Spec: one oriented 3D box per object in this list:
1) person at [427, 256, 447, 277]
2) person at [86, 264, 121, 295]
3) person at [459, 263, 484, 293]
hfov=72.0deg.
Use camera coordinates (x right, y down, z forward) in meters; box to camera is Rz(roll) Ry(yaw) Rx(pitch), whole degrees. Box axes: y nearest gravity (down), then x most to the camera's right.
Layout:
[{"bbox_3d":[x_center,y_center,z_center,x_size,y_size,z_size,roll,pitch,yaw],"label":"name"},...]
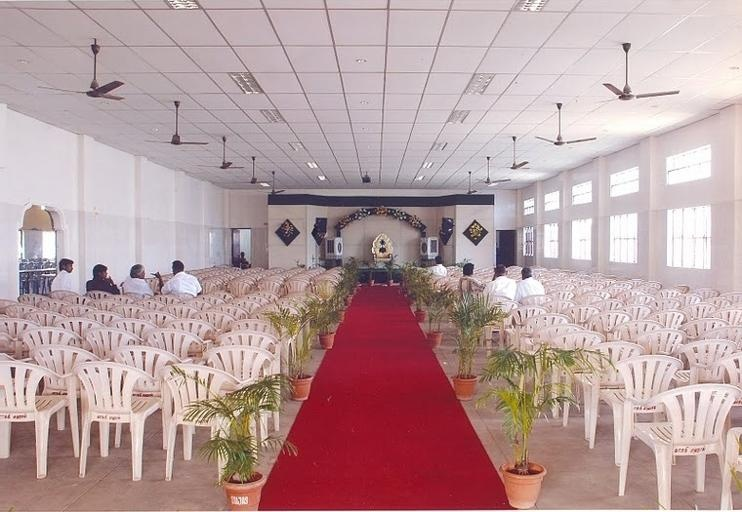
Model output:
[{"bbox_3d":[2.233,0.336,17.672,0.753,0.752,0.490,5,11,10],"label":"person"},{"bbox_3d":[-6.331,0.550,12.014,0.635,0.703,0.438,5,16,5],"label":"person"},{"bbox_3d":[2.381,0.519,12.177,0.609,0.679,0.462,6,15,38],"label":"person"}]
